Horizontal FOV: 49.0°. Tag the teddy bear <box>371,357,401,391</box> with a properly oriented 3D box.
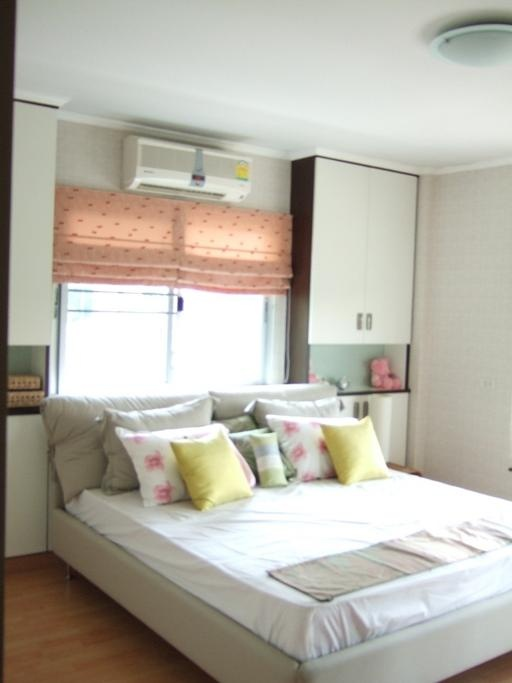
[{"bbox_3d":[1.079,0.280,4.759,0.206,0.108,0.273,-8,31,5],"label":"teddy bear"}]

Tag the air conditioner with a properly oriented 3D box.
[{"bbox_3d":[-0.454,-1.144,3.764,0.849,0.318,0.307,-1,6,-30],"label":"air conditioner"}]
